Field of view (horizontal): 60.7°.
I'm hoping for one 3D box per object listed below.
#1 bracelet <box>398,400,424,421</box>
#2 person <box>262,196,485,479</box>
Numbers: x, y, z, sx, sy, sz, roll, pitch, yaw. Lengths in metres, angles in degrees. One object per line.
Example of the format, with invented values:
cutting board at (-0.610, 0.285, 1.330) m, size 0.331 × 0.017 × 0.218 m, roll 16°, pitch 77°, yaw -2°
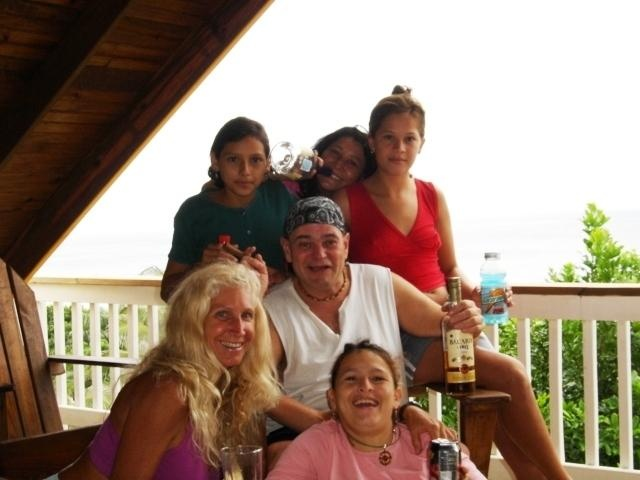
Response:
bracelet at (0.341, 0.680, 2.182) m, size 0.073 × 0.071 × 0.020 m, roll 7°, pitch -3°, yaw 30°
person at (0.021, 0.296, 2.730) m, size 0.983 × 1.319 × 1.035 m, roll -11°, pitch 8°, yaw -20°
